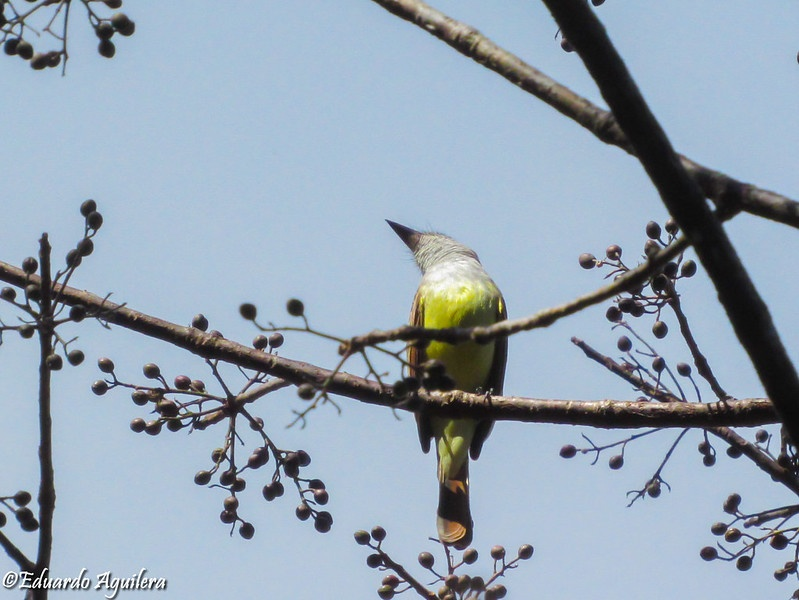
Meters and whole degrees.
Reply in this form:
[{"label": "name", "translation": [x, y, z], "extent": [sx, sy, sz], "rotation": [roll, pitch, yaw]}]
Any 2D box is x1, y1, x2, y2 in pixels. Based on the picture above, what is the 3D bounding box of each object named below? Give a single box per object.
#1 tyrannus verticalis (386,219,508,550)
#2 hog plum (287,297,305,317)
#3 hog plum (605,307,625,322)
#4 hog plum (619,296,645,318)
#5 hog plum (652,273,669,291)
[{"label": "tyrannus verticalis", "translation": [0.335, 0.401, 11.237], "extent": [0.627, 0.877, 2.317], "rotation": [-1, -89, -5]}, {"label": "hog plum", "translation": [-0.460, 0.034, 7.558], "extent": [0.061, 0.057, 0.082], "rotation": [-1, -46, 9]}, {"label": "hog plum", "translation": [1.003, 0.062, 8.067], "extent": [0.084, 0.124, 0.103], "rotation": [0, -92, 16]}, {"label": "hog plum", "translation": [1.081, 0.027, 8.043], "extent": [0.087, 0.077, 0.047], "rotation": [20, -76, 33]}, {"label": "hog plum", "translation": [1.354, -0.086, 8.944], "extent": [0.059, 0.096, 0.072], "rotation": [3, -27, 2]}]
